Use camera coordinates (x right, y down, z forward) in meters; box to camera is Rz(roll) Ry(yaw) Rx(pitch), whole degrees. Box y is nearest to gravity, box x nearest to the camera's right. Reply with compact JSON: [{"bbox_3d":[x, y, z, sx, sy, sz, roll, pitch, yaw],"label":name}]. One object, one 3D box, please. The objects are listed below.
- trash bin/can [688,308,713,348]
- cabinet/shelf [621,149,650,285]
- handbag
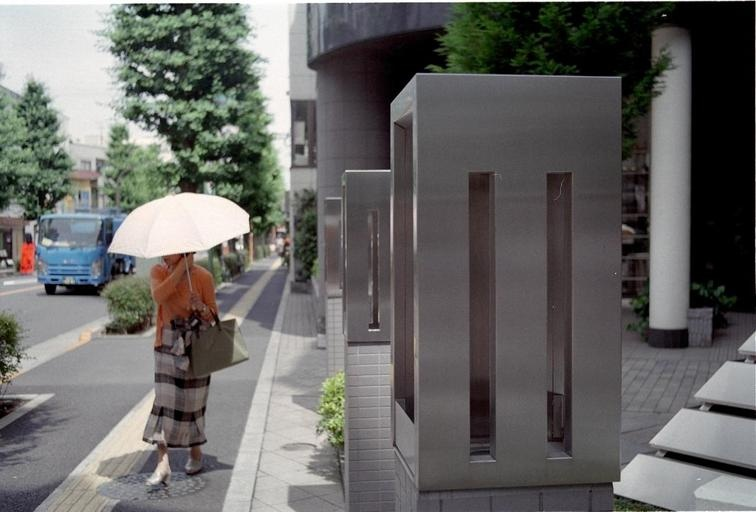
[{"bbox_3d":[5.717,1.272,14.090,0.491,0.822,0.825,2,-3,18],"label":"trash bin/can"},{"bbox_3d":[6.421,-0.801,20.058,0.596,3.756,0.833,1,10,18],"label":"cabinet/shelf"},{"bbox_3d":[-1.752,0.911,8.523,0.572,0.695,0.244,-18,-17,-13],"label":"handbag"}]
